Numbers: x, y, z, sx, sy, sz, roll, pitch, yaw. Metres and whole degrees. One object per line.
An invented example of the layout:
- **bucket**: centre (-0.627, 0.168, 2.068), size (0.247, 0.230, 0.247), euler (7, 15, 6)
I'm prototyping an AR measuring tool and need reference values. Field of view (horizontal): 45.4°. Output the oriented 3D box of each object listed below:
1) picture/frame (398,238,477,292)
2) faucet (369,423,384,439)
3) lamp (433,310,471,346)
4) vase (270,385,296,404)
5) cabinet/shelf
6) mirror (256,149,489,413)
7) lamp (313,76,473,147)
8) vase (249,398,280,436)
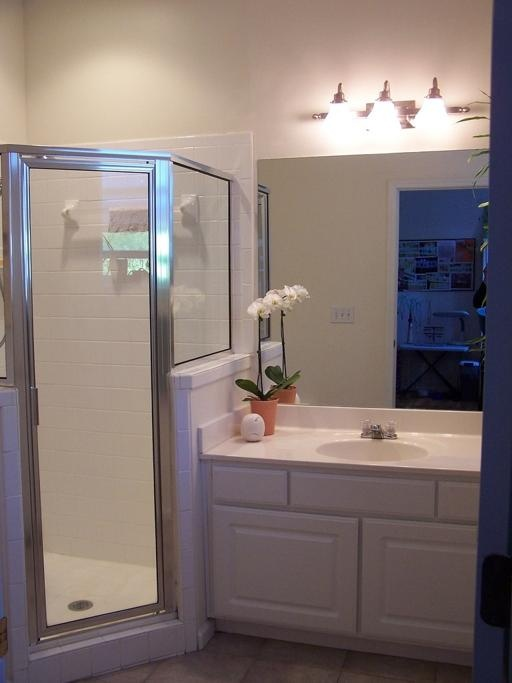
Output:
- **picture/frame**: centre (0.682, -0.286, 2.326), size (0.283, 0.208, 0.006), euler (3, 23, 24)
- **faucet**: centre (0.458, 0.345, 2.330), size (0.048, 0.090, 0.049), euler (-1, -2, 6)
- **lamp**: centre (0.718, -0.057, 2.270), size (0.134, 0.132, 0.080), euler (2, -1, 15)
- **vase**: centre (0.129, 0.227, 2.577), size (0.079, 0.062, 0.080), euler (-1, 0, -2)
- **cabinet/shelf**: centre (0.305, 0.725, 2.011), size (0.861, 0.533, 0.278), euler (-1, -2, 14)
- **mirror**: centre (0.484, -0.252, 2.388), size (1.056, 1.128, 0.060), euler (0, 3, 14)
- **lamp**: centre (0.519, -0.930, 2.438), size (0.570, 0.211, 0.205), euler (4, 10, 18)
- **vase**: centre (0.044, 0.296, 2.429), size (0.126, 0.142, 0.131), euler (0, -1, -34)
